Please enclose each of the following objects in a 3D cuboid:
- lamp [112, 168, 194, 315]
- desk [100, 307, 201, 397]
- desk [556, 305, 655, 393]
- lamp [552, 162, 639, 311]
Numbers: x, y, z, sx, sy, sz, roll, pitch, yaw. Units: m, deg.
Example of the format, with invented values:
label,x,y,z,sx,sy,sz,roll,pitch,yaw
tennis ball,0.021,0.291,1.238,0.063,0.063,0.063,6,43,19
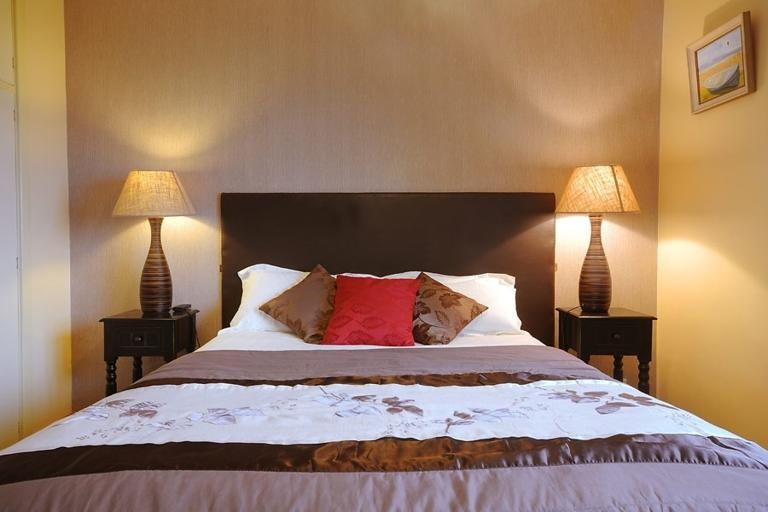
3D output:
label,x,y,z,sx,sy,sz,roll,pitch,yaw
lamp,-1.619,-0.104,4.350,0.528,1.037,0.358,0,-3,-17
desk,-1.749,0.718,4.430,0.423,0.578,0.551,1,2,-17
desk,1.664,0.728,4.454,0.521,0.727,0.627,0,9,21
lamp,1.491,-0.131,4.322,0.530,1.082,0.367,-2,-3,16
